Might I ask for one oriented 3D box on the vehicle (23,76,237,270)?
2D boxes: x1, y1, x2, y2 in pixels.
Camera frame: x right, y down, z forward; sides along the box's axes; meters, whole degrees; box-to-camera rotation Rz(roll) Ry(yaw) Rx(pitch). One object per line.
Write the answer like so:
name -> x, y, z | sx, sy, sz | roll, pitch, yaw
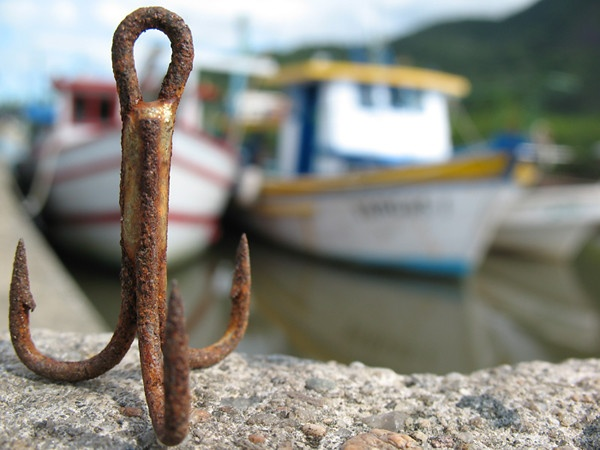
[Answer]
vehicle -> -2.102, -0.397, 8.413 | 1.216, 1.413, 3.903 | 3, -1, -26
